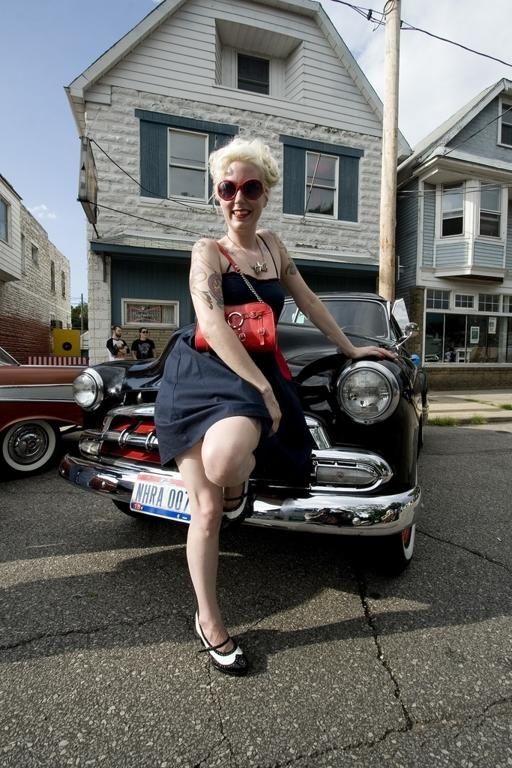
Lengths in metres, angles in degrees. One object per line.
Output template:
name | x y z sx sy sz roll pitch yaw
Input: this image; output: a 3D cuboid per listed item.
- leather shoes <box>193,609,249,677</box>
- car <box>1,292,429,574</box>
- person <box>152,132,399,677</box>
leather shoes | -0.118 0.843 1.817 0.109 0.075 0.263 -19 28 -29
car | 0.188 0.206 2.768 1.433 1.050 2.498 1 2 25
person | -0.054 0.016 1.891 0.402 1.737 0.714 3 5 27
